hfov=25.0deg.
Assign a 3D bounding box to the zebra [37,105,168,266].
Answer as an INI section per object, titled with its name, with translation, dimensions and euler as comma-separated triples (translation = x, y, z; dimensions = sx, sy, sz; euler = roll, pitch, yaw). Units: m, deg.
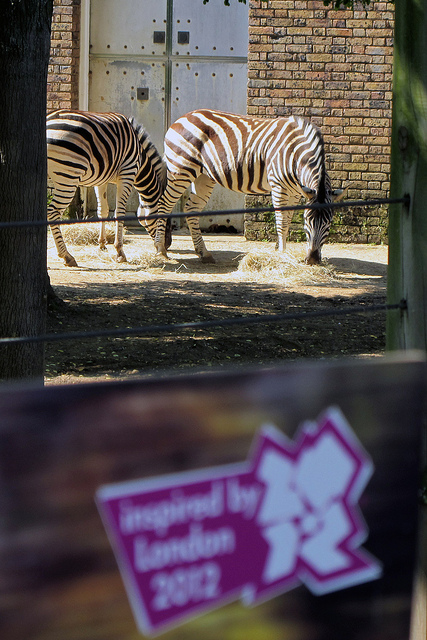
[zebra]
translation = -0.858, -1.059, 7.738
dimensions = 0.424, 1.239, 1.539
euler = 16, 12, 38
